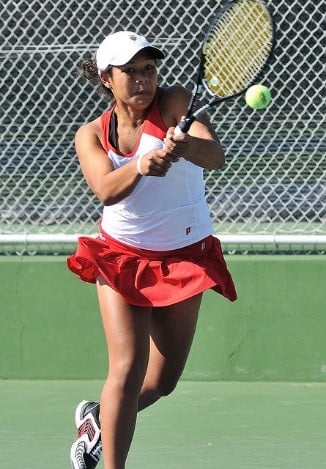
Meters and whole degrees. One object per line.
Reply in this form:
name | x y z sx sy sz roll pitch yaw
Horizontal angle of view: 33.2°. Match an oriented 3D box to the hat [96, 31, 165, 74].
hat | -0.129 -0.587 1.783 0.145 0.094 0.190 -19 -2 -45
